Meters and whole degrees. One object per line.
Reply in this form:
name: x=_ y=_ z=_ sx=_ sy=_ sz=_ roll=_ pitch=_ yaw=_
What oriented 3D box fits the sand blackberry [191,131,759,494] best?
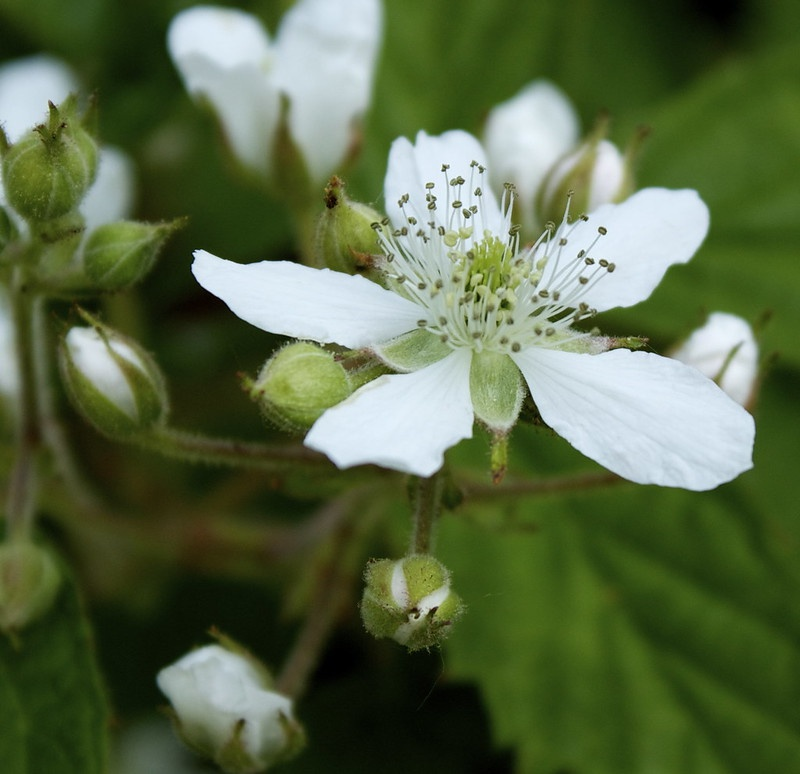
sand blackberry: x=0.066 y=-0.107 z=1.163 sx=0.573 sy=0.176 sz=0.535 roll=0 pitch=41 yaw=-6

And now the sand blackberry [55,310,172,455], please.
sand blackberry: x=-0.301 y=-0.010 z=1.107 sx=0.110 sy=0.164 sz=0.057 roll=-32 pitch=35 yaw=-27
